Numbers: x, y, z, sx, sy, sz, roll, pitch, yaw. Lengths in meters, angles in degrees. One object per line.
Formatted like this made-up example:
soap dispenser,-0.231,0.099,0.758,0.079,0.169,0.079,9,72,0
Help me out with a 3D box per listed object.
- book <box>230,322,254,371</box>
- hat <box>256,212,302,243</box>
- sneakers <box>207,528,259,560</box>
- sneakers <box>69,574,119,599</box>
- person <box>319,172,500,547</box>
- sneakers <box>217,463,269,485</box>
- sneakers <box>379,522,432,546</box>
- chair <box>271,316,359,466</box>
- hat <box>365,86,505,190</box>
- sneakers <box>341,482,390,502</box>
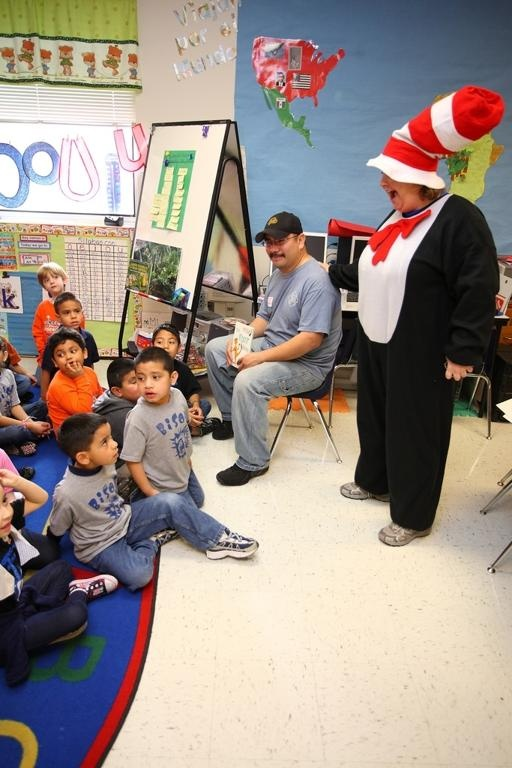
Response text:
book,-0.067,-0.174,2.663,0.035,0.320,0.249,-3,7,-29
hat,0.121,-0.734,2.549,0.199,0.112,0.136,-13,18,-27
sneakers,-0.080,0.595,2.024,0.203,0.115,0.092,0,19,2
sneakers,-0.515,0.652,1.728,0.150,0.054,0.064,-8,9,-31
person,0.566,-0.028,1.974,0.238,1.327,0.528,-13,27,-40
sneakers,-0.054,0.416,2.580,0.239,0.095,0.090,-3,16,-28
sneakers,0.611,0.607,2.154,0.222,0.091,0.079,-5,33,-7
chair,0.274,0.052,2.857,0.381,0.585,0.349,7,14,15
hat,0.613,-0.771,1.746,0.145,0.354,0.362,-2,5,-41
sneakers,0.499,0.476,2.421,0.196,0.080,0.079,12,32,9
